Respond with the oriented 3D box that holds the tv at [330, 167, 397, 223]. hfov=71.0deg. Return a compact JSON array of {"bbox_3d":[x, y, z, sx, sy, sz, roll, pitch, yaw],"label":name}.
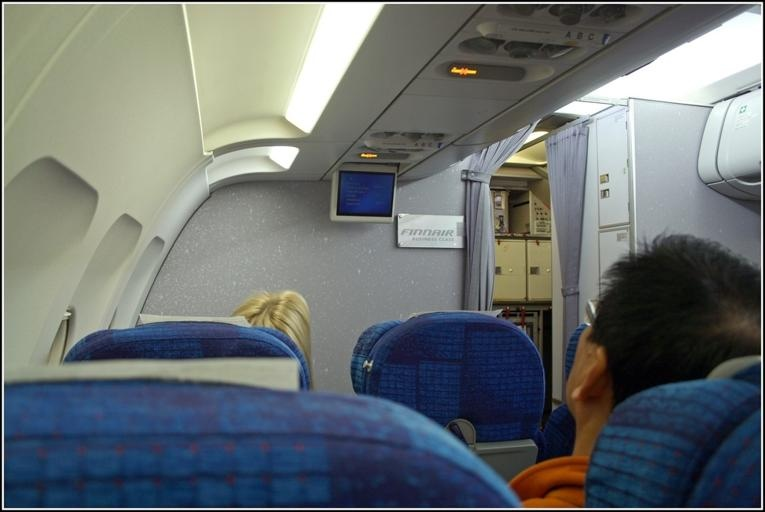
[{"bbox_3d":[-0.179,-0.566,4.861,0.472,0.392,0.163,0,14,-12],"label":"tv"}]
